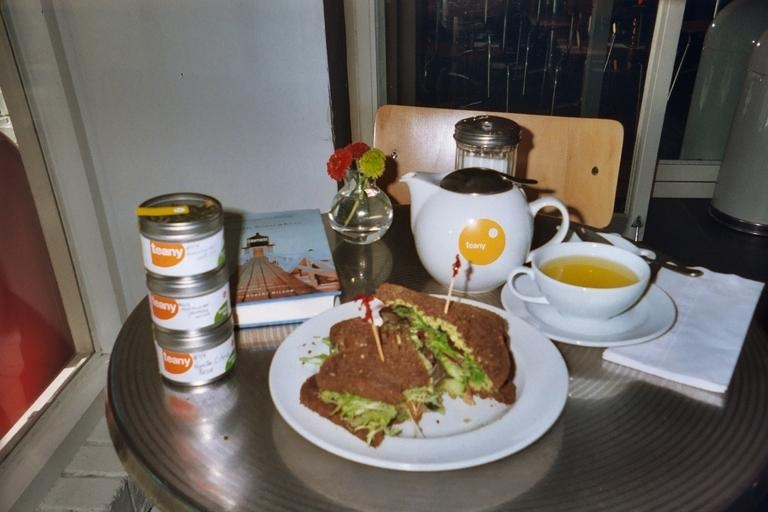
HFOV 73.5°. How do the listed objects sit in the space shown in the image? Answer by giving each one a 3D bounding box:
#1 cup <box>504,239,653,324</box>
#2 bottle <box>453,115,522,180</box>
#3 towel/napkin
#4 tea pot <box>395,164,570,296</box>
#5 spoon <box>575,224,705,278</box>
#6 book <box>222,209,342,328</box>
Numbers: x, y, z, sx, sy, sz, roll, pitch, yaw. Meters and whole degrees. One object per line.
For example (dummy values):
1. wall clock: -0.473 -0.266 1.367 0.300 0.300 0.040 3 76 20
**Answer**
1. cup: 0.370 0.049 0.959 0.214 0.078 0.163 -6 26 3
2. bottle: 0.245 -0.220 1.216 0.136 0.195 0.128 -5 37 3
3. towel/napkin: 0.539 0.139 0.952 0.203 0.025 0.313 16 44 29
4. tea pot: 0.217 -0.050 1.107 0.343 0.230 0.249 1 21 -4
5. spoon: 0.777 -0.012 1.513 0.056 0.037 0.474 14 15 -34
6. book: -0.236 0.020 1.055 0.246 0.045 0.228 -1 47 -16
